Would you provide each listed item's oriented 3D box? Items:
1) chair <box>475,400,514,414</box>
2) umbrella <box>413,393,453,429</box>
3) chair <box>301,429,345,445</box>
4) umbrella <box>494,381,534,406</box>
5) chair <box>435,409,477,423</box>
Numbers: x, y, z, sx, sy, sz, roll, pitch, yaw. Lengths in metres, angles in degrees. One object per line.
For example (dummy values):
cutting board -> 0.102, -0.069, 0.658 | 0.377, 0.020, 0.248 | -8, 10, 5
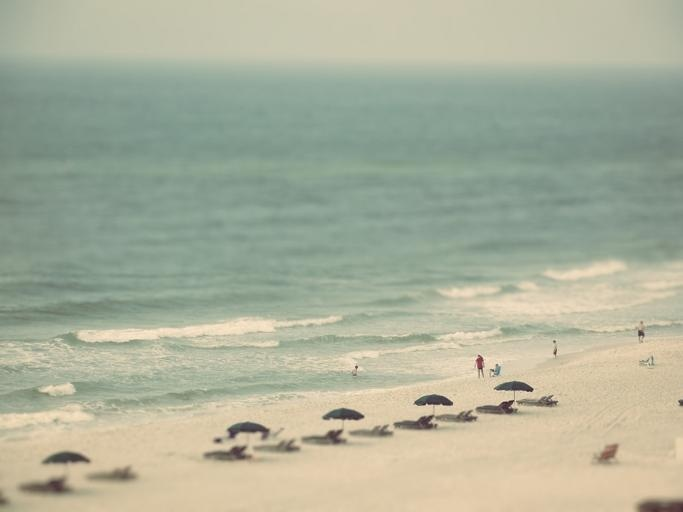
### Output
chair -> 8.790, 8.496, 60.951 | 1.686, 0.315, 0.940 | 1, -1, 12
umbrella -> 5.261, 8.492, 60.035 | 2.895, 1.299, 2.123 | 0, -6, 1
chair -> -0.845, 9.703, 58.138 | 2.265, 0.633, 0.864 | -2, 10, -3
umbrella -> 9.704, 7.721, 61.190 | 2.365, 0.815, 1.720 | 0, -5, 2
chair -> 6.473, 8.879, 60.180 | 1.987, 0.314, 0.853 | 1, -2, 6
